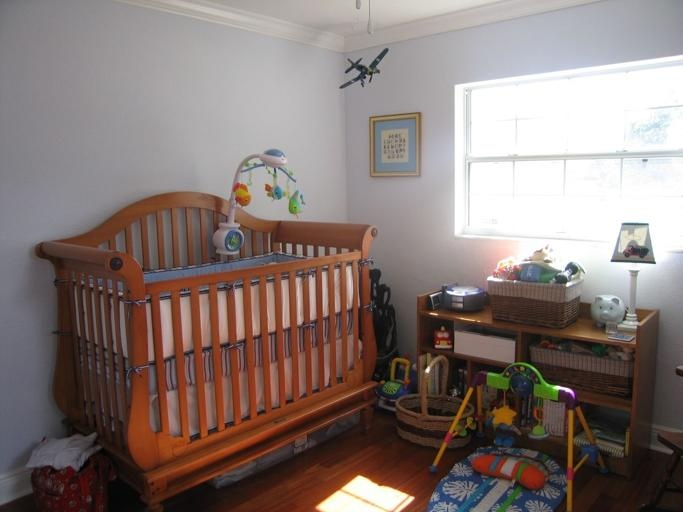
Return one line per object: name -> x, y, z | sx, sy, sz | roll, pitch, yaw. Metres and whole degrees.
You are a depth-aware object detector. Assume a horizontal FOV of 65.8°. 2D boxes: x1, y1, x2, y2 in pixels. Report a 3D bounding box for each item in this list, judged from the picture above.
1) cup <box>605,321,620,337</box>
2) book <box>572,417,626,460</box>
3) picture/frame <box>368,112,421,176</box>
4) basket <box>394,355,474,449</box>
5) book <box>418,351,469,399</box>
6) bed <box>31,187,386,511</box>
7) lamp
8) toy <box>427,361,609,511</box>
cup -> 1.581, 0.423, 3.089 | 0.068, 0.103, 0.098 | 0, 2, 18
book -> 1.497, 1.072, 3.076 | 0.292, 0.075, 0.287 | -6, 8, -40
picture/frame -> 0.425, -0.875, 4.088 | 0.482, 0.536, 0.035 | 1, 3, 36
basket -> 0.614, 0.939, 3.577 | 0.545, 0.598, 0.404 | 1, 3, 28
book -> 0.681, 0.798, 3.554 | 0.301, 0.327, 0.165 | 2, -7, -28
bed -> -0.702, 0.388, 3.197 | 1.066, 1.496, 1.768 | 11, 15, 43
lamp -> 1.689, 0.121, 3.076 | 0.221, 0.617, 0.451 | 6, 13, 31
toy -> 1.029, 0.916, 3.050 | 0.904, 0.706, 0.613 | 6, 13, 29
